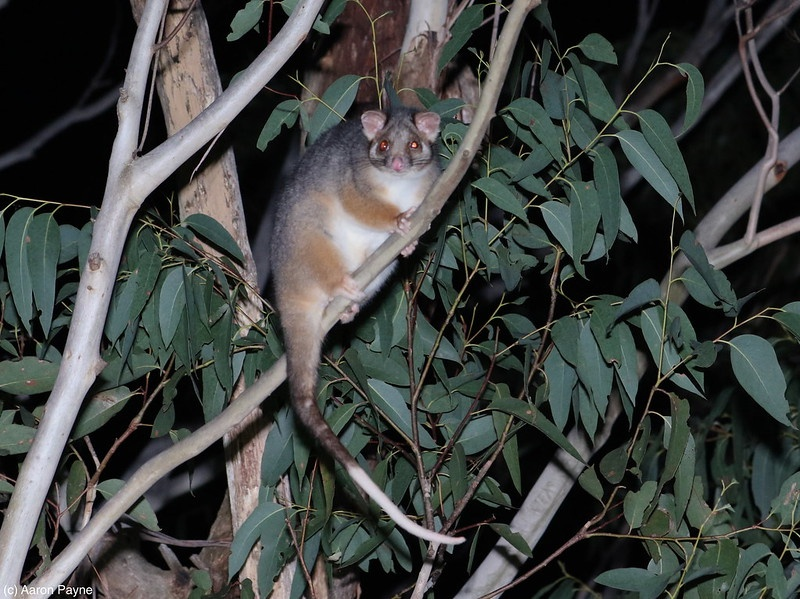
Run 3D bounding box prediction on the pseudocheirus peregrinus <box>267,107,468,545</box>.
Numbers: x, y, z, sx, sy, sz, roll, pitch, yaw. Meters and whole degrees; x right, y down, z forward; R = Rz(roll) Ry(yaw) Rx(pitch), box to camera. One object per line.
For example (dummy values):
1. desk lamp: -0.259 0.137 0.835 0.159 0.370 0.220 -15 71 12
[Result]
1. pseudocheirus peregrinus: -0.537 0.424 4.870 0.757 2.879 0.861 0 28 -41
